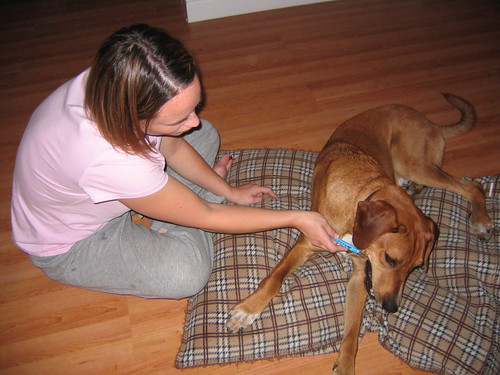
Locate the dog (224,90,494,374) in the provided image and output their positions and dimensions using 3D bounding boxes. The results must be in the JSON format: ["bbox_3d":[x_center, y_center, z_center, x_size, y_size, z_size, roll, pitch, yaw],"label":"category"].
[{"bbox_3d":[1.024,0.214,3.515,1.540,0.895,2.593,29,59,16],"label":"dog"}]
